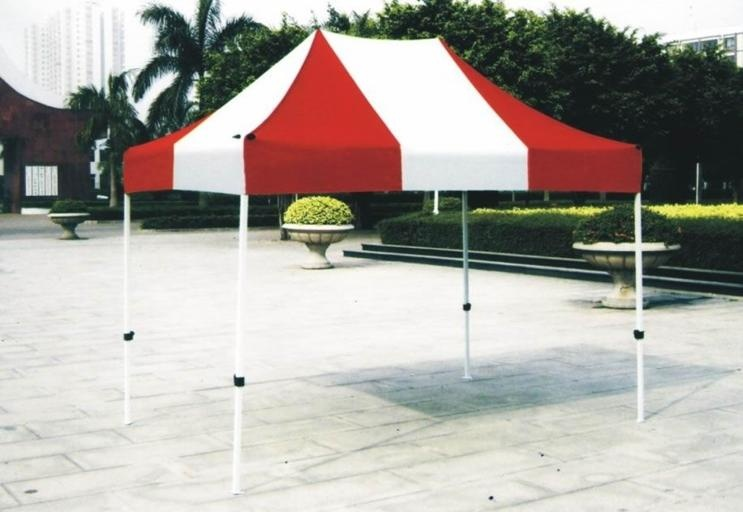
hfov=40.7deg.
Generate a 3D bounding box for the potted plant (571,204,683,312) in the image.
[{"bbox_3d":[4.446,0.075,17.488,1.743,1.634,1.742,4,-3,-13],"label":"potted plant"}]

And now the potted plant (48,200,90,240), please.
[{"bbox_3d":[-10.253,-1.194,34.068,1.385,1.332,1.357,0,0,-42],"label":"potted plant"}]

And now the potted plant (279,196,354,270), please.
[{"bbox_3d":[-1.232,-0.529,23.554,1.528,1.682,1.066,0,0,2],"label":"potted plant"}]
